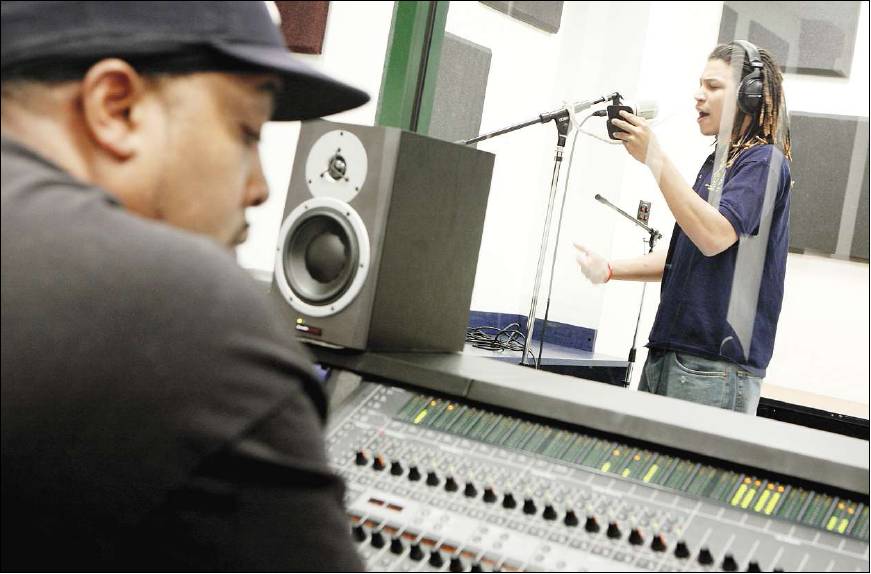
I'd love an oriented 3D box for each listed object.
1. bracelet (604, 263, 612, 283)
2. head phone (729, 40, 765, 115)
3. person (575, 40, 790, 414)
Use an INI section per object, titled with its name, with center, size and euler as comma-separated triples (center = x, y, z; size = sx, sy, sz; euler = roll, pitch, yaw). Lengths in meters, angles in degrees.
[bracelet]
center = 0.462, -0.039, 1.866
size = 0.010, 0.037, 0.028
euler = 4, -6, -14
[head phone]
center = 0.832, -0.549, 1.844
size = 0.068, 0.174, 0.188
euler = 1, 11, 17
[person]
center = 0.665, -0.171, 1.810
size = 0.472, 0.907, 0.246
euler = 9, 12, 25
